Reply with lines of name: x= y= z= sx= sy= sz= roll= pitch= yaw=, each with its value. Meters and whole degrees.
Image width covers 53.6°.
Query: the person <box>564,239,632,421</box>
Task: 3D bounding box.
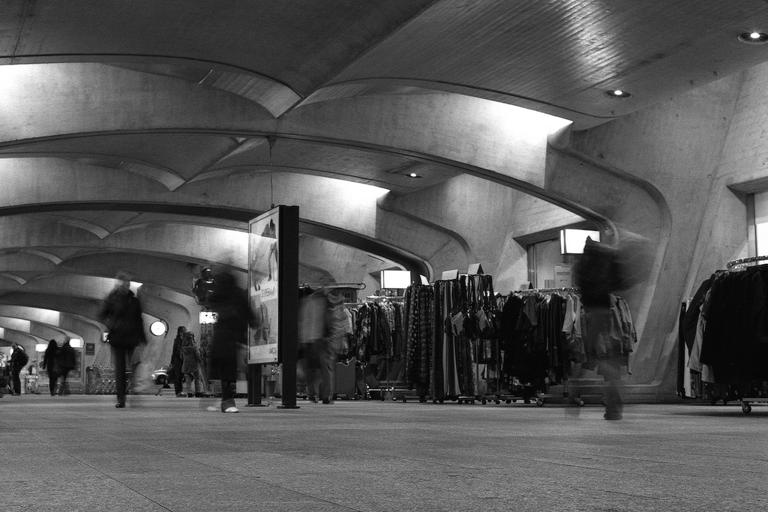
person: x=2.548 y=0.827 z=8.619 sx=0.586 sy=2.027 sz=0.415 roll=3 pitch=-13 yaw=-8

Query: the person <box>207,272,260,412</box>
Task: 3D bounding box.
person: x=-2.168 y=1.219 z=10.575 sx=0.518 sy=1.886 sz=1.578 roll=4 pitch=-13 yaw=-11

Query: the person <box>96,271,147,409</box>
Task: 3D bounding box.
person: x=-4.205 y=1.375 z=12.201 sx=0.738 sy=2.074 sz=1.017 roll=6 pitch=-14 yaw=-19

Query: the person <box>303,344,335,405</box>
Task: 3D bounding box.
person: x=-1.214 y=2.168 z=14.001 sx=0.557 sy=1.078 sz=1.853 roll=3 pitch=-12 yaw=-5

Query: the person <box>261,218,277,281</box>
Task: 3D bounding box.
person: x=-1.712 y=-0.099 z=11.504 sx=0.139 sy=0.884 sz=0.546 roll=6 pitch=-14 yaw=-19
